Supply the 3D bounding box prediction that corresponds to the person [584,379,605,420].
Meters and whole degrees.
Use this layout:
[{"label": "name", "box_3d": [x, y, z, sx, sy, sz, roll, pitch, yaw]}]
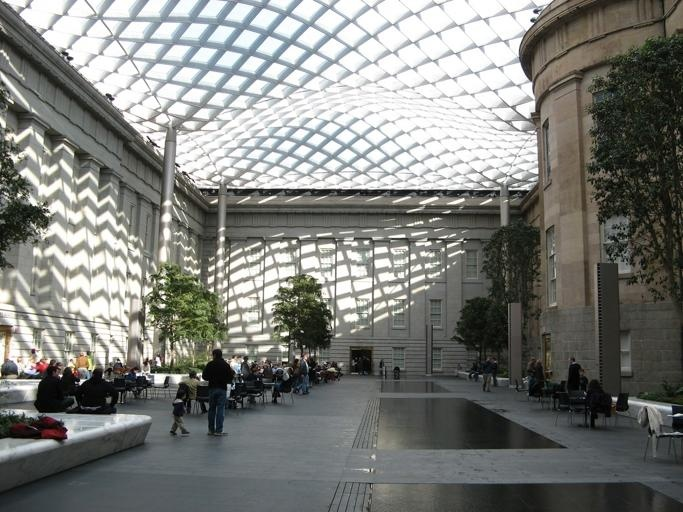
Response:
[{"label": "person", "box_3d": [7.362, 4.226, 17.631, 0.466, 1.364, 0.468, -1, 12, 23]}]
